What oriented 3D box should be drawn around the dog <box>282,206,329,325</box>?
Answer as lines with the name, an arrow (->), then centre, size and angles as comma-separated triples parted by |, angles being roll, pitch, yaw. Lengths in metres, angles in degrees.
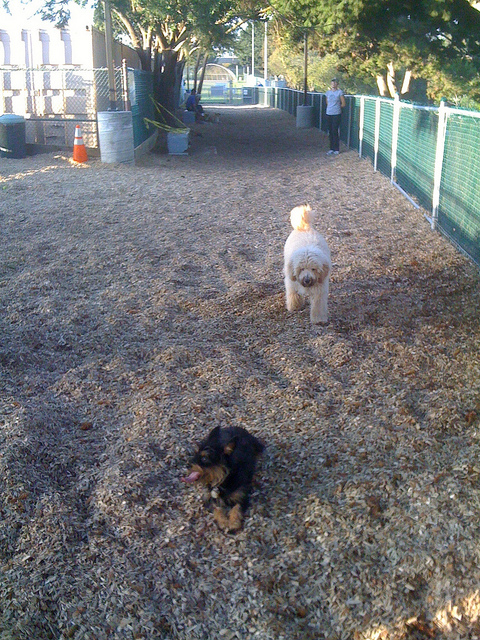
dog -> 0.738, -0.675, 5.197 | 0.389, 0.803, 1.511 | 0, 52, 9

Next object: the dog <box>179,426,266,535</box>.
dog -> -0.047, 0.808, 2.748 | 0.270, 0.430, 0.813 | 2, 17, 9

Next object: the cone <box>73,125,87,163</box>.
cone -> -5.107, -5.522, 14.997 | 0.404, 1.027, 0.515 | -13, 23, -35
